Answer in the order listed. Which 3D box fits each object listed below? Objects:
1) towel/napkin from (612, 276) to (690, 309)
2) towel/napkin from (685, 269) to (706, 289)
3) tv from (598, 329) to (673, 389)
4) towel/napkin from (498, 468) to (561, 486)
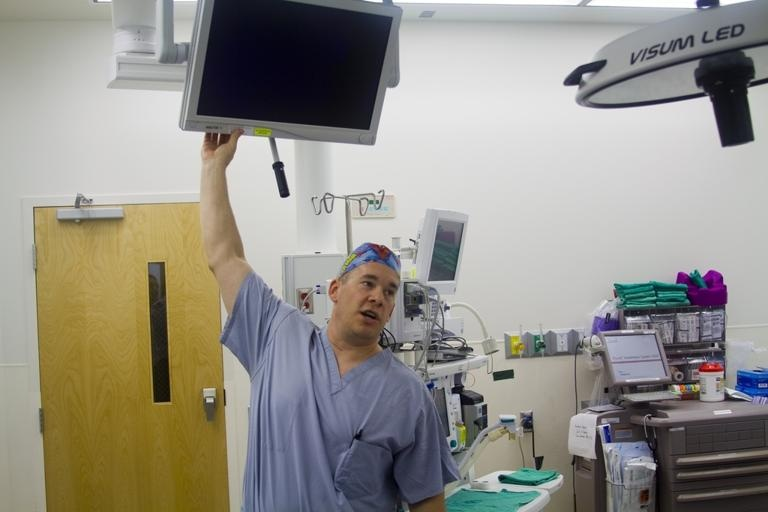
[{"bbox_3d":[2.040,0.291,4.644,0.553,0.197,0.141,-2,-1,-7],"label":"towel/napkin"},{"bbox_3d":[2.413,0.154,4.709,0.092,0.165,0.063,-38,24,-4],"label":"towel/napkin"},{"bbox_3d":[1.754,0.720,4.269,0.418,0.389,0.165,0,-4,-13],"label":"tv"},{"bbox_3d":[0.852,1.313,3.619,0.316,0.037,0.251,-1,-2,-27],"label":"towel/napkin"}]
